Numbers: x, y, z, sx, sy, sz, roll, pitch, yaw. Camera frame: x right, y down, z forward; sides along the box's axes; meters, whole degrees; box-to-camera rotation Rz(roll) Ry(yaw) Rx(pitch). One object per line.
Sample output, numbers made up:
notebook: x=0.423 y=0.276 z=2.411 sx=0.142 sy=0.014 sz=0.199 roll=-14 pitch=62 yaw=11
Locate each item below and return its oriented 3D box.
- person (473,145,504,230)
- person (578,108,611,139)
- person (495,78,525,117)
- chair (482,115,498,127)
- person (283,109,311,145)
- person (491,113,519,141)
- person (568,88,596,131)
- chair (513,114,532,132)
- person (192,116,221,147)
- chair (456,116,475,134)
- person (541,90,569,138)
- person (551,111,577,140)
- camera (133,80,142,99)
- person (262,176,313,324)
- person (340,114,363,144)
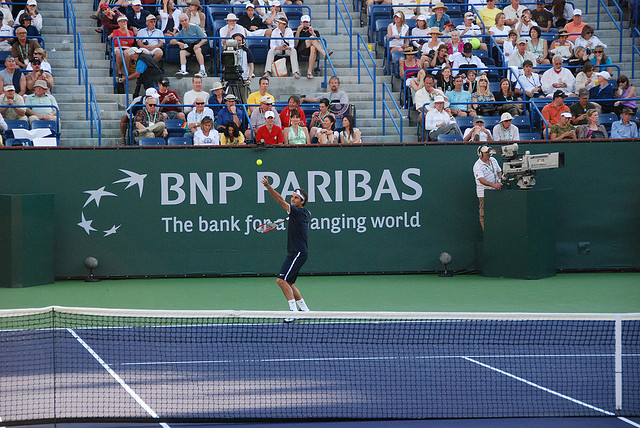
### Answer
person: x=4.043 y=-0.676 z=27.937 sx=0.646 sy=1.952 sz=0.618 roll=-6 pitch=11 yaw=-11
person: x=6.930 y=-2.299 z=29.512 sx=0.690 sy=0.719 sz=1.036 roll=0 pitch=12 yaw=19
person: x=5.037 y=-3.037 z=30.689 sx=0.601 sy=1.013 sz=1.198 roll=-8 pitch=18 yaw=-13
chair: x=4.390 y=-2.400 z=30.226 sx=0.344 sy=0.278 sz=0.362 roll=2 pitch=-9 yaw=-6
person: x=-0.623 y=-2.014 z=28.659 sx=0.704 sy=1.178 sz=0.569 roll=0 pitch=-5 yaw=-25
person: x=4.639 y=-2.193 z=29.100 sx=0.666 sy=1.058 sz=0.680 roll=0 pitch=2 yaw=-1
person: x=6.893 y=-2.692 z=30.205 sx=0.768 sy=1.176 sz=0.862 roll=-4 pitch=18 yaw=-2
chair: x=5.275 y=-2.376 z=30.296 sx=0.451 sy=0.507 sz=0.454 roll=2 pitch=9 yaw=7
person: x=-2.837 y=-2.005 z=28.660 sx=0.755 sy=0.822 sz=0.430 roll=-1 pitch=-3 yaw=-16
chair: x=3.738 y=-2.319 z=30.047 sx=0.424 sy=0.375 sz=0.389 roll=-17 pitch=-9 yaw=15
person: x=6.145 y=-2.517 z=30.128 sx=0.811 sy=1.427 sz=0.800 roll=4 pitch=12 yaw=6
person: x=6.205 y=-2.248 z=29.599 sx=0.626 sy=1.070 sz=0.629 roll=2 pitch=-12 yaw=-4
camera: x=-4.843 y=-3.282 z=30.588 sx=0.129 sy=0.537 sz=0.141 roll=14 pitch=-8 yaw=-4
person: x=-0.571 y=0.682 z=24.279 sx=0.878 sy=2.920 sz=0.627 roll=-14 pitch=14 yaw=-43
person: x=0.751 y=-2.036 z=29.148 sx=0.556 sy=0.897 sz=0.595 roll=-3 pitch=-5 yaw=7
